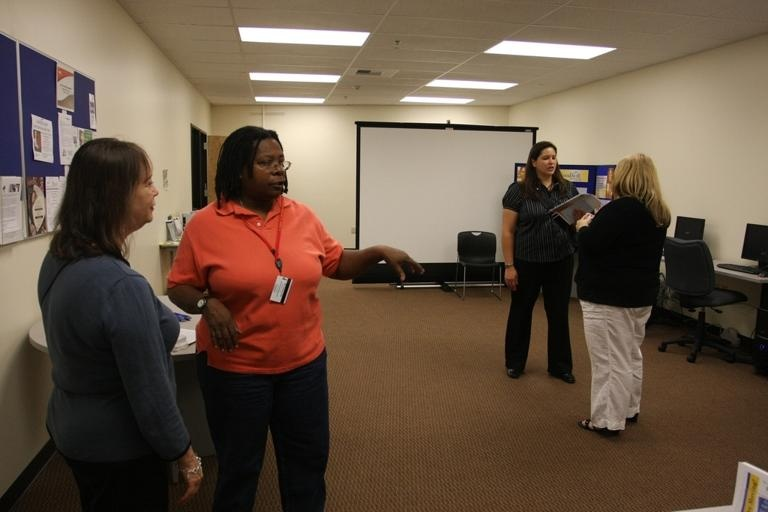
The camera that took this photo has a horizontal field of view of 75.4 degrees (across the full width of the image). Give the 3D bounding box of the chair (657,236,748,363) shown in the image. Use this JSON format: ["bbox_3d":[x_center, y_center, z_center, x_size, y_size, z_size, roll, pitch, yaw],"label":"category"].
[{"bbox_3d":[3.416,0.422,5.300,0.895,1.271,0.703,-8,14,-36],"label":"chair"}]

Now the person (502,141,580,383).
[{"bbox_3d":[1.400,0.068,4.426,0.693,2.120,0.506,3,11,14],"label":"person"}]

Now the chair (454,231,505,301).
[{"bbox_3d":[1.440,0.085,7.509,0.691,0.957,0.779,1,11,1],"label":"chair"}]

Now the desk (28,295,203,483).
[{"bbox_3d":[-1.613,0.635,3.432,1.116,0.782,1.197,2,12,-6],"label":"desk"}]

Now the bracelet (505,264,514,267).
[{"bbox_3d":[1.118,0.079,4.410,0.072,0.039,0.068,3,12,12],"label":"bracelet"}]

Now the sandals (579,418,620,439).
[{"bbox_3d":[1.623,1.258,3.745,0.122,0.087,0.200,25,-9,-35],"label":"sandals"}]

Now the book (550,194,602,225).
[{"bbox_3d":[1.518,-0.378,3.913,0.275,0.081,0.279,-1,-17,-33],"label":"book"}]

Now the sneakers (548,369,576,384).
[{"bbox_3d":[1.633,1.079,4.550,0.089,0.113,0.246,0,0,-26],"label":"sneakers"}]

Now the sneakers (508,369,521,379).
[{"bbox_3d":[1.201,1.077,4.572,0.056,0.057,0.129,2,10,10],"label":"sneakers"}]

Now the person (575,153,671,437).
[{"bbox_3d":[1.703,0.304,3.614,0.590,2.043,0.364,3,11,16],"label":"person"}]
